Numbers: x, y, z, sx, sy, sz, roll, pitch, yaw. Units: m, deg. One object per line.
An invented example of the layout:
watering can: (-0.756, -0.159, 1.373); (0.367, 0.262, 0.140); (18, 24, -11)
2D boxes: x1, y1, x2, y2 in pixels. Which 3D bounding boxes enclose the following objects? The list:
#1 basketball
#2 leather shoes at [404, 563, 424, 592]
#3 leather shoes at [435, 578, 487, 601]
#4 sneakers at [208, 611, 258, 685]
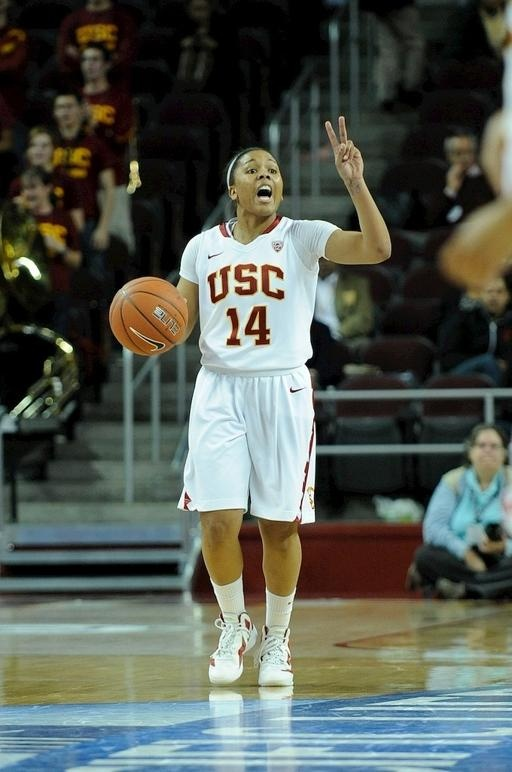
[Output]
basketball: (-0.340, -0.245, 3.117); (0.278, 0.297, 0.259); (0, 21, -7)
leather shoes: (0.891, 1.093, 5.198); (0.061, 0.147, 0.114); (-7, 13, -7)
leather shoes: (1.090, 1.104, 4.987); (0.178, 0.064, 0.108); (15, -12, -6)
sneakers: (-0.058, 0.861, 3.062); (0.102, 0.121, 0.298); (-3, 7, 10)
